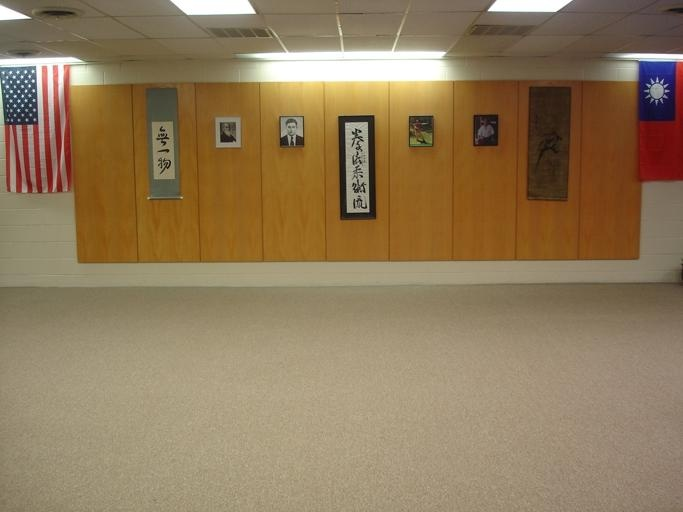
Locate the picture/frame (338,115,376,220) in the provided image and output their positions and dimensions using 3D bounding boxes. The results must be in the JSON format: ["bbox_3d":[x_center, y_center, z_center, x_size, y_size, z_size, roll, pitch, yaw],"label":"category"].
[{"bbox_3d":[0.258,-1.472,8.870,0.569,1.676,0.218,-2,10,-10],"label":"picture/frame"}]

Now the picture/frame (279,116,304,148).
[{"bbox_3d":[-0.827,-2.082,8.833,0.419,0.580,0.059,-1,4,2],"label":"picture/frame"}]
